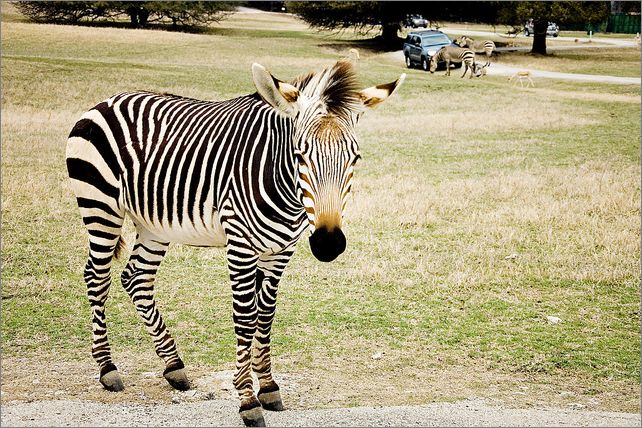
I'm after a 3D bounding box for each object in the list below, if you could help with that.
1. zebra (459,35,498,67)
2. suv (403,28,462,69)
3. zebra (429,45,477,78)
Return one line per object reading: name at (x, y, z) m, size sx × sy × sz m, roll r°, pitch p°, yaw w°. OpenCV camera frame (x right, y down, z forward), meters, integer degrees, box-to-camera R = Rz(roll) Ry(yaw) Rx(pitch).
zebra at (5.510, -5.848, 37.716) m, size 1.479 × 0.961 × 0.412 m, roll 13°, pitch 13°, yaw 33°
suv at (3.639, -5.796, 37.165) m, size 1.160 × 0.942 × 2.198 m, roll -10°, pitch 20°, yaw -21°
zebra at (4.485, -5.106, 35.178) m, size 0.879 × 1.198 × 1.871 m, roll 2°, pitch -2°, yaw -41°
